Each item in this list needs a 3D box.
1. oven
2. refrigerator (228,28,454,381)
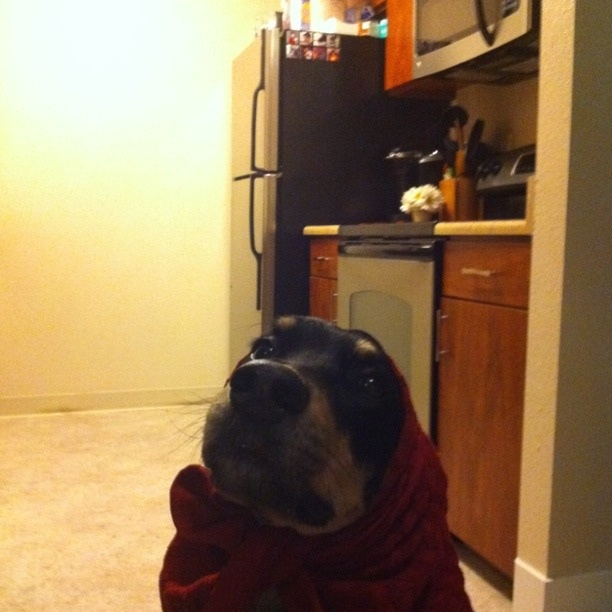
[{"bbox_3d":[0.239,0.145,1.948,0.352,0.730,0.368,5,-1,4],"label":"oven"},{"bbox_3d":[-0.054,-0.445,3.597,0.978,2.503,1.098,1,3,-11],"label":"refrigerator"}]
